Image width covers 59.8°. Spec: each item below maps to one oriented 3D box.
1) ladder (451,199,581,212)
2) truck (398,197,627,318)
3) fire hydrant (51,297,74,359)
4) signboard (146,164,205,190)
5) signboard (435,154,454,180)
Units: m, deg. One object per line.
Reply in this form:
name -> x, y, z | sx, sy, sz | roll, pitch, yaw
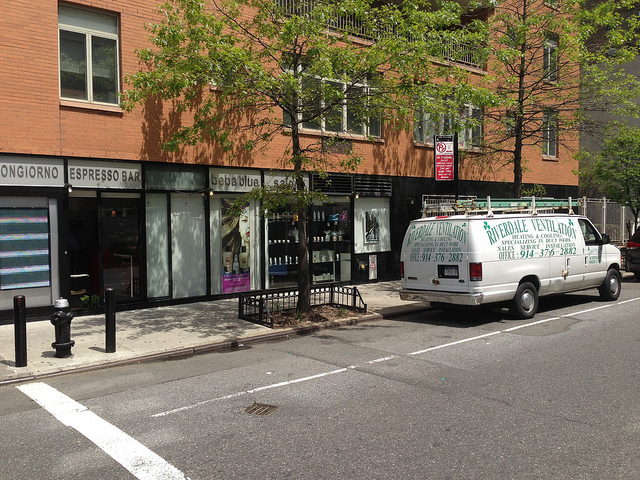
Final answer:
ladder -> 5.240, -0.993, 14.803 | 3.743, 0.273, 1.038 | -4, 7, -28
truck -> 5.535, 0.662, 14.911 | 6.912, 2.792, 2.540 | -2, -2, -34
fire hydrant -> -4.792, 1.623, 10.283 | 0.364, 1.090, 0.413 | -4, 7, -24
signboard -> -3.953, -1.735, 15.183 | 0.346, 0.655, 1.673 | 5, 8, 44
signboard -> 4.425, -2.626, 19.691 | 0.817, 1.236, 0.120 | 1, 1, 17
